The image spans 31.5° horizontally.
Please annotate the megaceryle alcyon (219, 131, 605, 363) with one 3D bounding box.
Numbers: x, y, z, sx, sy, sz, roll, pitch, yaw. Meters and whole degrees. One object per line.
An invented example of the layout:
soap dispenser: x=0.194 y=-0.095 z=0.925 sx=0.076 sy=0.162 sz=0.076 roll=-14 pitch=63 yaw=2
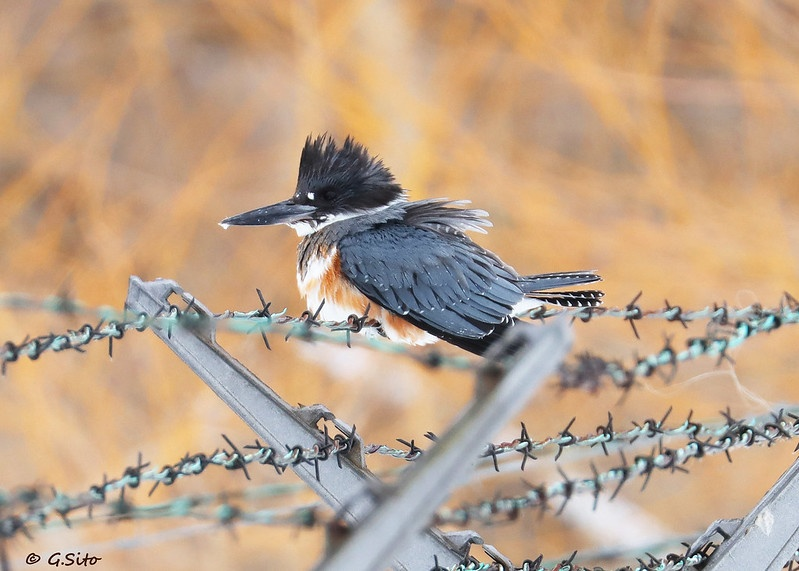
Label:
megaceryle alcyon: x=0.004 y=-0.280 z=10.561 sx=2.262 sy=1.700 sz=0.970 roll=7 pitch=-57 yaw=-12
